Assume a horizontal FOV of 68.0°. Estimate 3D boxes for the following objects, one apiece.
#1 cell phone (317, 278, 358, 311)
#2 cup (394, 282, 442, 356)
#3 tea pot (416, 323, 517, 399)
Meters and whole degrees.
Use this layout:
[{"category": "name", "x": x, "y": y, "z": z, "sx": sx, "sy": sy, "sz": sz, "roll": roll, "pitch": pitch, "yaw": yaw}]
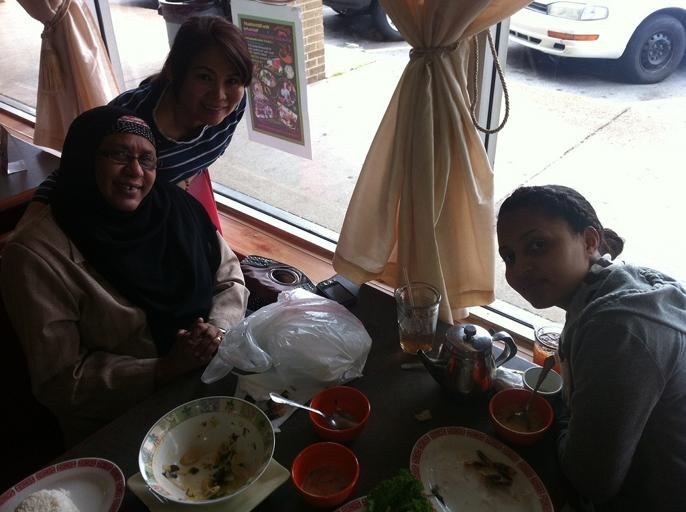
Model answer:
[{"category": "cell phone", "x": -0.014, "y": 0.108, "z": 1.638, "sx": 0.096, "sy": 0.021, "sz": 0.094, "roll": -7, "pitch": 32, "yaw": -44}, {"category": "cup", "x": 0.215, "y": 0.181, "z": 1.465, "sx": 0.126, "sy": 0.157, "sz": 0.121, "roll": 0, "pitch": 25, "yaw": 0}, {"category": "tea pot", "x": 0.329, "y": 0.258, "z": 1.316, "sx": 0.242, "sy": 0.166, "sz": 0.176, "roll": -1, "pitch": 22, "yaw": 2}]
